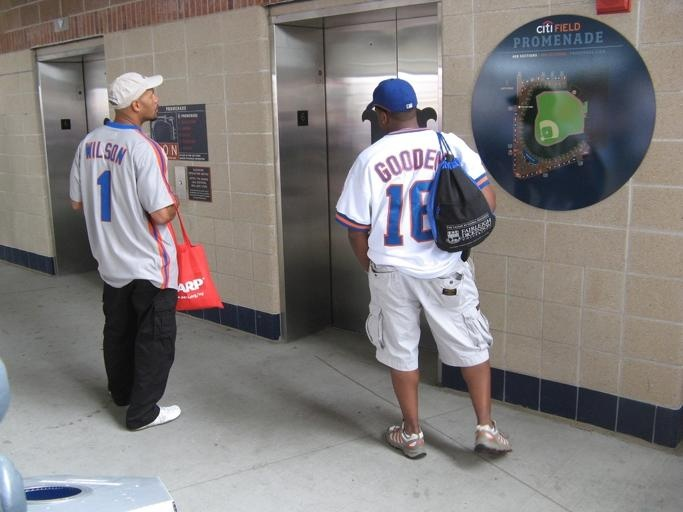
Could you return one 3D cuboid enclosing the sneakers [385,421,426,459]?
[{"bbox_3d":[0.350,0.992,2.997,0.110,0.135,0.285,-6,17,-24],"label":"sneakers"}]

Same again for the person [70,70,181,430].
[{"bbox_3d":[-1.273,-0.032,3.310,0.504,2.124,0.553,-9,15,-27],"label":"person"}]

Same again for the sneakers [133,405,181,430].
[{"bbox_3d":[-1.149,1.001,3.328,0.101,0.088,0.259,15,27,35],"label":"sneakers"}]

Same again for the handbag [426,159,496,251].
[{"bbox_3d":[0.556,-0.232,2.530,0.297,0.427,0.149,-17,4,10],"label":"handbag"}]

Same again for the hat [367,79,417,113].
[{"bbox_3d":[0.274,-0.792,2.721,0.148,0.123,0.211,-8,38,-6],"label":"hat"}]

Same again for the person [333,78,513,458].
[{"bbox_3d":[0.425,0.226,2.803,0.835,1.736,0.272,3,14,18],"label":"person"}]
